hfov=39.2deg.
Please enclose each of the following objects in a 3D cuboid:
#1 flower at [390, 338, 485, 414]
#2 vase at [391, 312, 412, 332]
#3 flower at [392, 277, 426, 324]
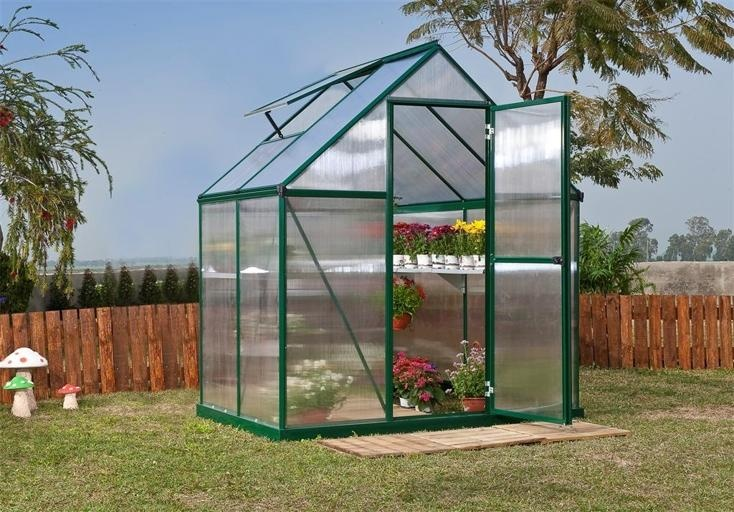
[{"bbox_3d":[1.130,2.073,17.229,1.285,0.978,1.245,1,-3,-11],"label":"flower"},{"bbox_3d":[0.628,1.161,18.015,0.292,0.218,0.298,-1,0,-16],"label":"vase"},{"bbox_3d":[0.659,0.760,18.107,0.583,0.737,0.679,2,-9,39],"label":"flower"}]
